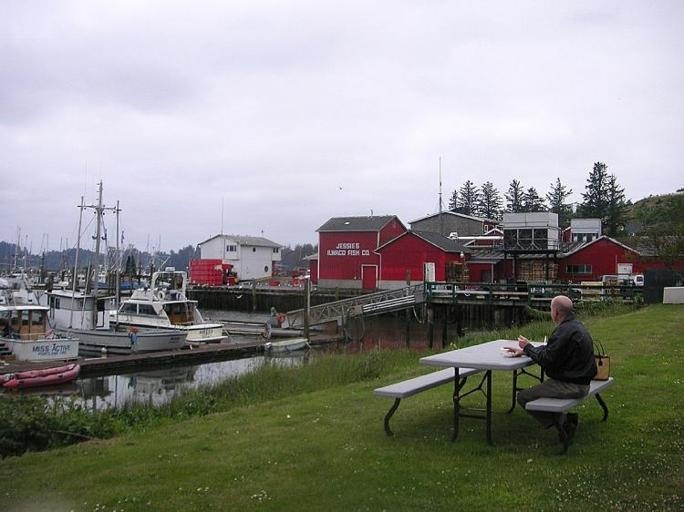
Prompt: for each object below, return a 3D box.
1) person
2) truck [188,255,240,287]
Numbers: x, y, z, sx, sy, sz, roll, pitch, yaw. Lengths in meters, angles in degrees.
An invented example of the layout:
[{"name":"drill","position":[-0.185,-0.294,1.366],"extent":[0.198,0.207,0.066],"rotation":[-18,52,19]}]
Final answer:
[{"name":"person","position":[3.475,1.550,12.306],"extent":[1.227,1.753,0.783],"rotation":[-1,10,18]},{"name":"truck","position":[-11.433,1.441,67.577],"extent":[2.779,1.922,2.898],"rotation":[1,0,14]}]
